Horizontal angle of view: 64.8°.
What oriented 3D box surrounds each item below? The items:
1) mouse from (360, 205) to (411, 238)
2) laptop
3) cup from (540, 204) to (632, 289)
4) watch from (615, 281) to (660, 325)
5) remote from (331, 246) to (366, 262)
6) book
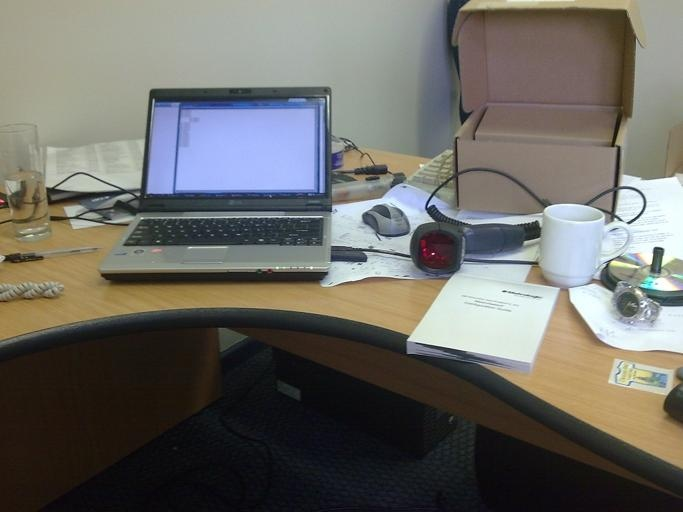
[{"bbox_3d":[0.101,-0.075,1.169,0.062,0.037,0.097,-16,34,-24],"label":"mouse"},{"bbox_3d":[-0.225,-0.151,1.135,0.478,0.279,0.410,0,35,1],"label":"laptop"},{"bbox_3d":[0.409,-0.035,0.999,0.190,0.155,0.116,6,28,15],"label":"cup"},{"bbox_3d":[0.468,0.072,0.864,0.070,0.040,0.059,-5,37,-44],"label":"watch"},{"bbox_3d":[0.023,-0.001,1.077,0.050,0.011,0.035,6,24,5],"label":"remote"},{"bbox_3d":[0.242,0.106,0.904,0.188,0.069,0.227,10,21,27],"label":"book"}]
